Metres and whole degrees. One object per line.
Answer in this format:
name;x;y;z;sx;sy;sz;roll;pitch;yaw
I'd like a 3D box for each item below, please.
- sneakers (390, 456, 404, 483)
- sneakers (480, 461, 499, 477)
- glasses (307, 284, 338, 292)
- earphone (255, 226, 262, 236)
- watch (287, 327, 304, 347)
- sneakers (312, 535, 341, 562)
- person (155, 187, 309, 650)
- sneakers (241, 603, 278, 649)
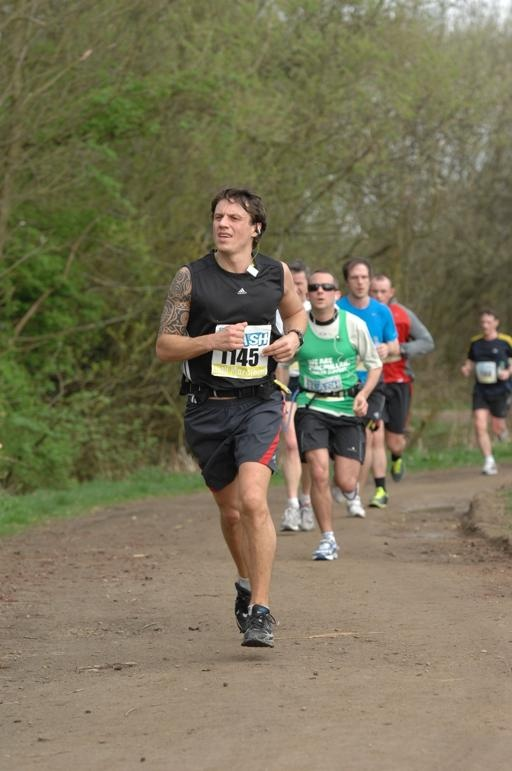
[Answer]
sneakers;1.410;0.851;9.853;0.126;0.308;0.149;4;18;27
sneakers;2.434;0.831;10.083;0.152;0.171;0.318;2;3;13
glasses;0.439;-0.644;6.387;0.185;0.055;0.099;1;3;-3
earphone;0.012;-0.678;4.269;0.028;0.038;0.032;6;5;6
watch;0.175;-0.217;4.363;0.095;0.086;0.062;-4;30;2
sneakers;0.444;1.014;6.142;0.160;0.158;0.252;2;3;5
person;-0.108;0.128;4.085;0.610;1.941;0.822;2;3;2
sneakers;0.007;0.964;3.821;0.116;0.227;0.320;2;3;2
